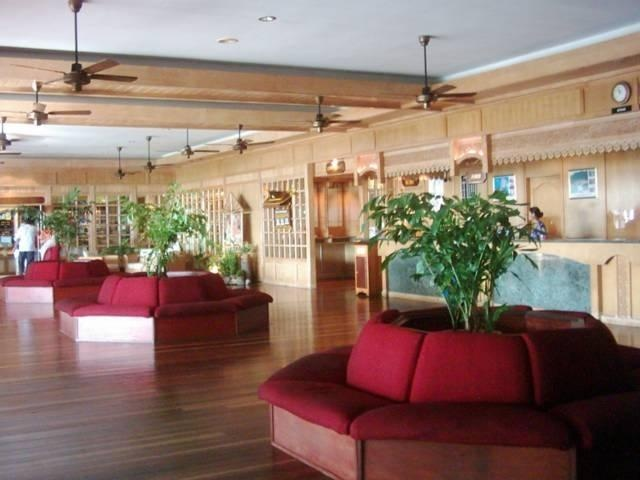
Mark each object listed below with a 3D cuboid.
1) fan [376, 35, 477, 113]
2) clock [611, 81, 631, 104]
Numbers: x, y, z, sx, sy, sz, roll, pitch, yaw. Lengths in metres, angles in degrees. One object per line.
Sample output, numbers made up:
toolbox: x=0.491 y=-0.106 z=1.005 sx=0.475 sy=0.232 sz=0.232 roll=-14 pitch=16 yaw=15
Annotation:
fan: x=1.480 y=-2.393 z=6.705 sx=1.436 sy=0.900 sz=1.380 roll=16 pitch=37 yaw=36
clock: x=4.116 y=-2.019 z=6.602 sx=0.062 sy=0.311 sz=0.231 roll=-3 pitch=2 yaw=-26
